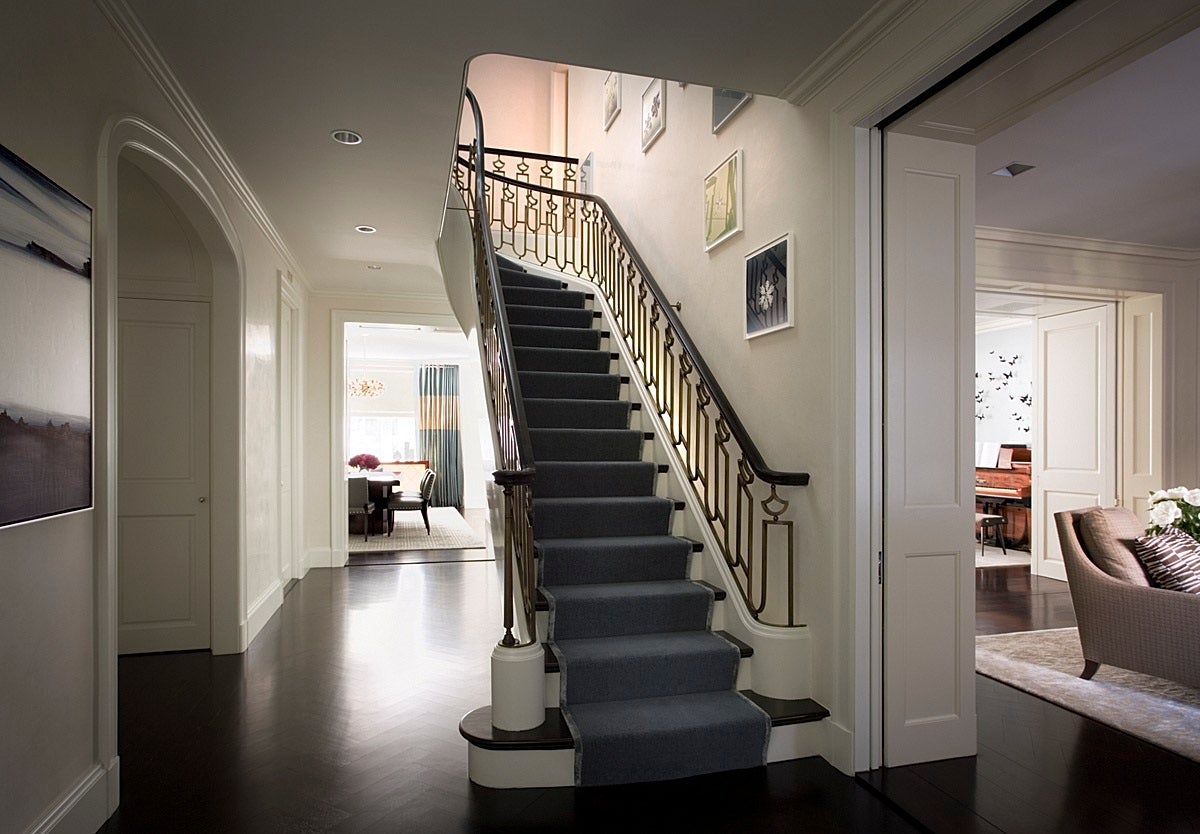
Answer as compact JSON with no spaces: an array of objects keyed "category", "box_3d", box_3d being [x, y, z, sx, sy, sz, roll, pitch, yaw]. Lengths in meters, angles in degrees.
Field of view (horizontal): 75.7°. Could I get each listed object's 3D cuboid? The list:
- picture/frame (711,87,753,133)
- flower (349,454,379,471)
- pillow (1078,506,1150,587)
[{"category":"picture/frame","box_3d":[0.876,-2.151,5.323,0.096,0.365,0.374,4,13,-17]},{"category":"flower","box_3d":[-3.956,0.765,12.973,0.382,0.229,0.781,-3,5,-39]},{"category":"pillow","box_3d":[3.463,0.869,5.225,0.447,0.477,0.138,11,-30,-37]}]
